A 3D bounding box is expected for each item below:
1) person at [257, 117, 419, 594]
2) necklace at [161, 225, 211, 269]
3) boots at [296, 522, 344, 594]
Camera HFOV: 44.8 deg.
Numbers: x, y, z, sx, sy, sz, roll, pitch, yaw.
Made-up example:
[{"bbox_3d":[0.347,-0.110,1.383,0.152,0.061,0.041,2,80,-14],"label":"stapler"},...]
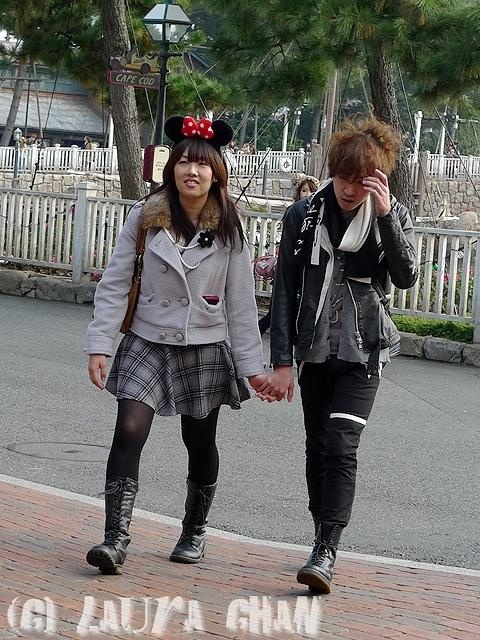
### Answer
[{"bbox_3d":[0.375,0.075,2.204,0.503,1.766,0.581,13,-14,-24],"label":"person"},{"bbox_3d":[-0.205,-0.264,2.168,0.117,0.152,0.031,-7,-29,-40],"label":"necklace"},{"bbox_3d":[0.268,0.776,1.893,0.110,0.195,0.282,12,-18,15],"label":"boots"}]
